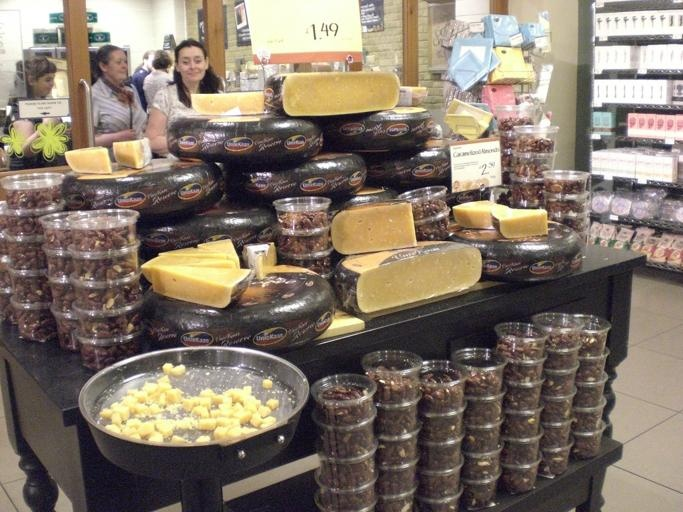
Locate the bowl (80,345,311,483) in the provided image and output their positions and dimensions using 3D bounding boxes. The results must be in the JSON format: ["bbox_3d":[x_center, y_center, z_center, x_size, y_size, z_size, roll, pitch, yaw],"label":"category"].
[{"bbox_3d":[-0.341,0.305,1.272,0.455,0.070,0.452,1,11,0],"label":"bowl"}]

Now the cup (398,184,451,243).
[{"bbox_3d":[0.274,-0.146,1.980,0.156,0.191,0.127,-10,17,-28],"label":"cup"}]
